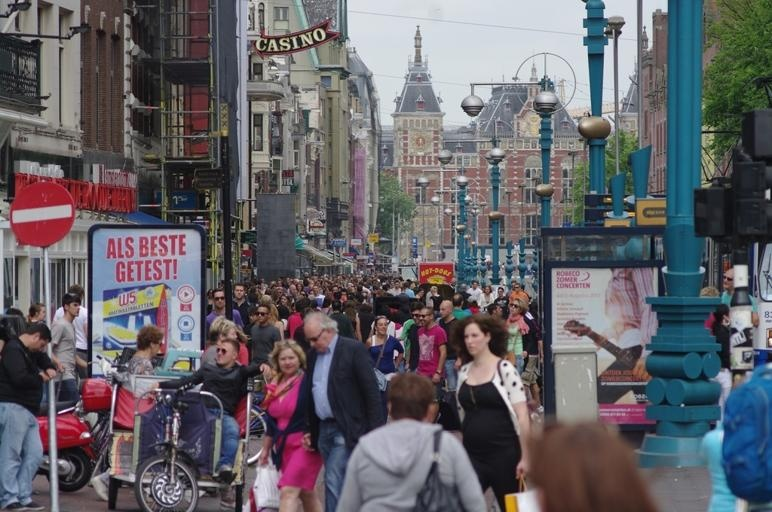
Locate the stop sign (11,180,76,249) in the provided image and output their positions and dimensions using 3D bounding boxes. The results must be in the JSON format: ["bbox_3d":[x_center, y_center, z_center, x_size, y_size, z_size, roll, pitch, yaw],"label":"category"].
[{"bbox_3d":[-5.253,-0.656,28.105,0.922,1.004,0.397,0,-3,-15],"label":"stop sign"}]
